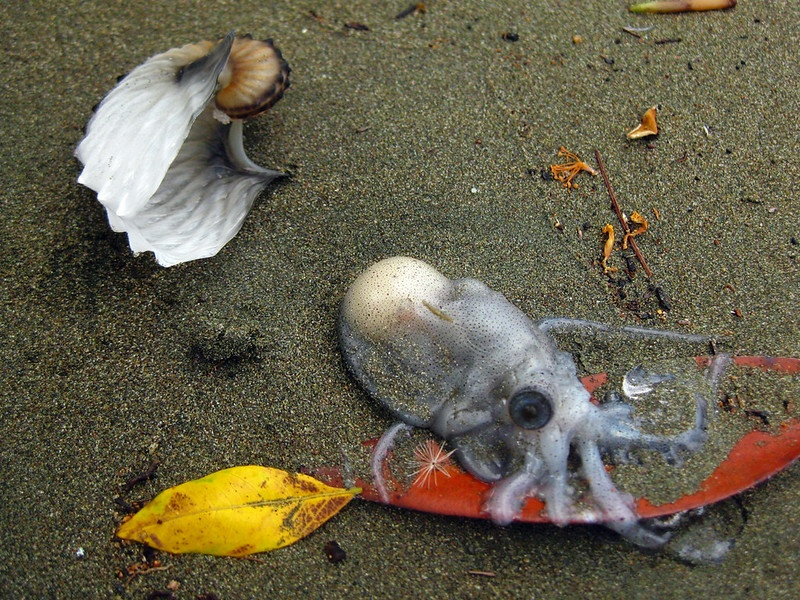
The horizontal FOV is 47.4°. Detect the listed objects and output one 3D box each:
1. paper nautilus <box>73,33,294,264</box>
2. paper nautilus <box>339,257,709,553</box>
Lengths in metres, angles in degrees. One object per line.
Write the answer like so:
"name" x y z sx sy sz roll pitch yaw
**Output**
"paper nautilus" -1.362 -0.883 5.524 1.363 1.196 1.717 5 78 -28
"paper nautilus" 0.538 0.596 5.267 2.089 0.466 1.034 32 74 9
